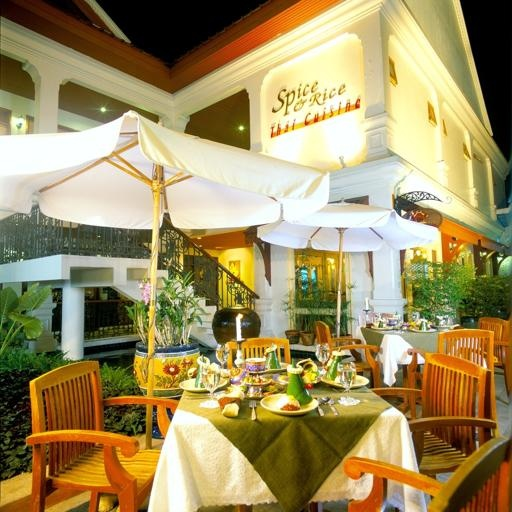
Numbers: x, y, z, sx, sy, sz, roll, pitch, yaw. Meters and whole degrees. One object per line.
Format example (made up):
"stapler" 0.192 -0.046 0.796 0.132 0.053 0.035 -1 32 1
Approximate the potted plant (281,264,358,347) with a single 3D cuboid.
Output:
"potted plant" 1.079 0.878 8.070 1.843 1.861 0.876 0 -6 -2
